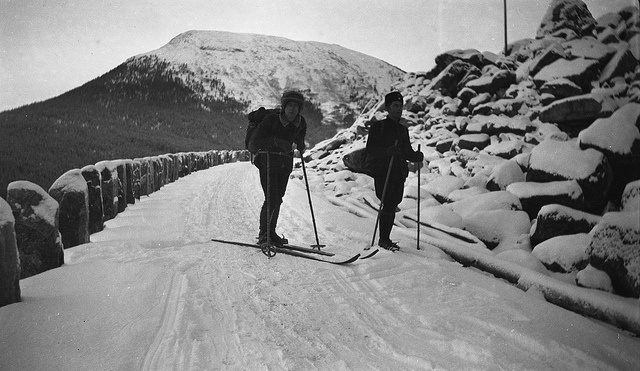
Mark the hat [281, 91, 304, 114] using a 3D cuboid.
[{"bbox_3d":[-0.572,-1.767,9.773,0.338,0.387,0.459,5,-15,-19],"label":"hat"}]

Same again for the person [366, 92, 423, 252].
[{"bbox_3d":[1.601,-0.368,10.128,0.955,3.240,0.800,-5,11,-24],"label":"person"}]
